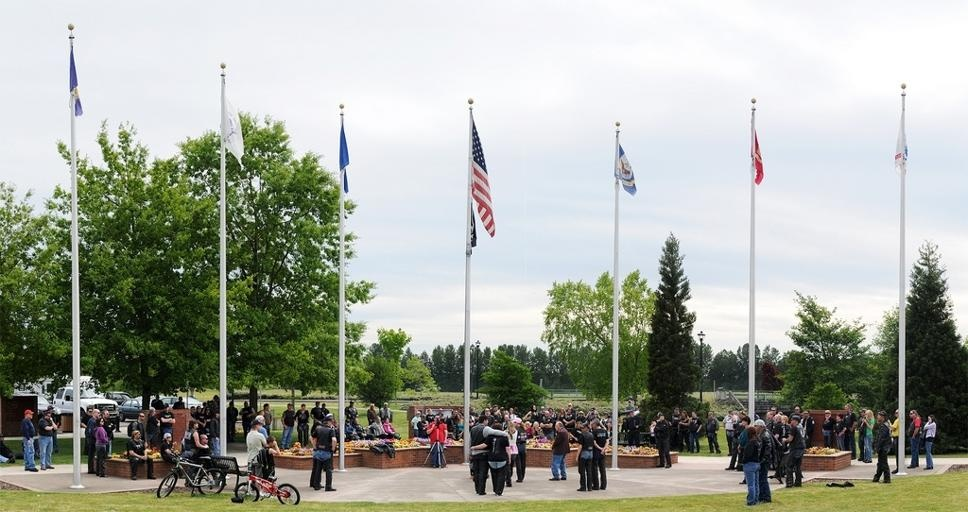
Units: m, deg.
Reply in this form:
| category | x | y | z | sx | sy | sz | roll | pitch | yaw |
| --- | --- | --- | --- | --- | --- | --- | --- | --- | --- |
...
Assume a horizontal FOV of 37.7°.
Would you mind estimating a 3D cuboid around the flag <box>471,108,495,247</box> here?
| category | x | y | z | sx | sy | sz | roll | pitch | yaw |
| --- | --- | --- | --- | --- | --- | --- | --- | --- | --- |
| flag | -0.164 | -5.377 | 94.126 | 1.677 | 9.495 | 1.053 | -4 | 12 | -10 |
